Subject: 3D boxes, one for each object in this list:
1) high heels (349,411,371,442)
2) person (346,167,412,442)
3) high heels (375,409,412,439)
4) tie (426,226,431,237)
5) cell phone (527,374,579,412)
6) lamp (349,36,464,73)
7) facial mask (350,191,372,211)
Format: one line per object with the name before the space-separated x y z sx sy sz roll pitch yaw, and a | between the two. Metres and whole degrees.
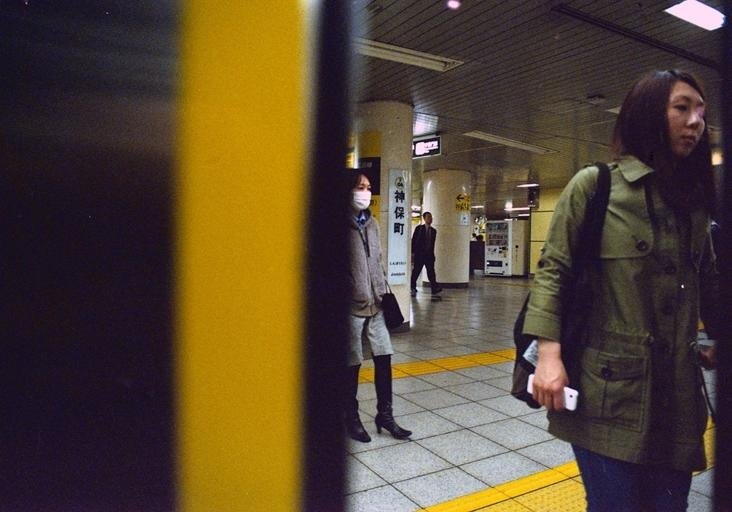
high heels | -0.051 1.190 4.090 0.146 0.193 0.100 6 8 44
person | 0.090 0.346 4.130 0.426 1.882 0.593 1 5 0
high heels | 0.190 1.207 4.247 0.366 0.183 0.120 5 -1 19
tie | 1.325 -0.504 12.640 0.131 0.183 0.049 -3 7 -35
cell phone | 0.728 0.525 2.272 0.147 0.243 0.027 -9 2 10
lamp | 0.469 -2.318 6.877 1.596 0.133 0.488 -3 7 -36
facial mask | -0.038 -0.377 4.092 0.130 0.094 0.126 -3 7 -43
